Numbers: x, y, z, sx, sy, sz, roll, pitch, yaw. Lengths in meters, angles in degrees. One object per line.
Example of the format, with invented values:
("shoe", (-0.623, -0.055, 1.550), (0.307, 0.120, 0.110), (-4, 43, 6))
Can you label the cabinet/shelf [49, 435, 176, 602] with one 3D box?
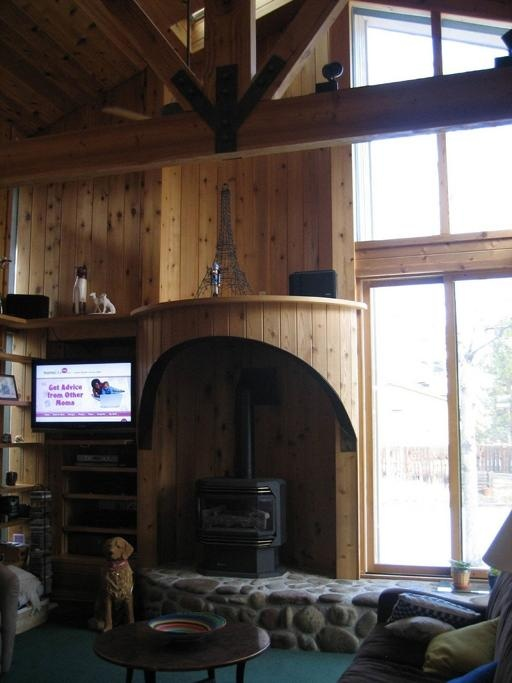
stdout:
("cabinet/shelf", (-1.198, 1.272, 4.904), (0.985, 1.180, 0.369), (-2, -7, 21))

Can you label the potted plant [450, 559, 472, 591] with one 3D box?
("potted plant", (1.274, 1.462, 4.141), (0.150, 0.215, 0.148), (0, -15, -1))

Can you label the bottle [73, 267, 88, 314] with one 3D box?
("bottle", (-1.361, -0.398, 5.140), (0.106, 0.425, 0.347), (2, -6, -15))

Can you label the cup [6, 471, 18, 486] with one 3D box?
("cup", (-1.764, 0.990, 4.783), (0.067, 0.096, 0.079), (3, -7, -24))
